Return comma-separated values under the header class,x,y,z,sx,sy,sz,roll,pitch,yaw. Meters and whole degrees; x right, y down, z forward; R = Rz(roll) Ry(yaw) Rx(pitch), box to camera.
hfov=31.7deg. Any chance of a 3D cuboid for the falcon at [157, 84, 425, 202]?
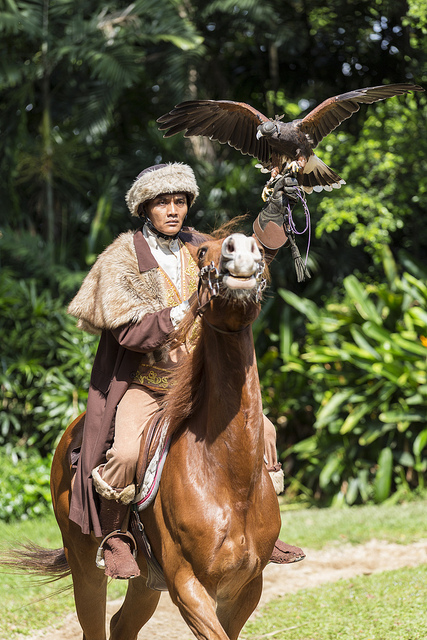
class,x,y,z,sx,sy,sz,roll,pitch,yaw
falcon,0.193,-0.465,2.975,1.069,0.389,0.575,-3,-6,29
